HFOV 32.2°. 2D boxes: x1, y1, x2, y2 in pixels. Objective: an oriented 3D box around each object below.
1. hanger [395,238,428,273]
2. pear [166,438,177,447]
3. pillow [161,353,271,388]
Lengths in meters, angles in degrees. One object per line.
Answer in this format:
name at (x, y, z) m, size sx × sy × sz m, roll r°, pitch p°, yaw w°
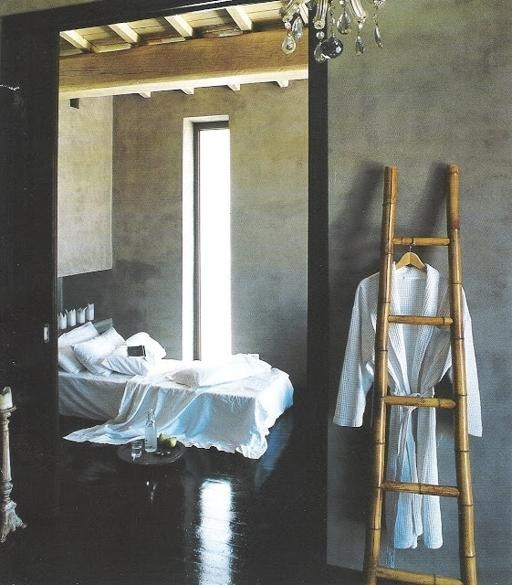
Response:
hanger at (0.503, -0.120, 2.838) m, size 0.123 × 0.099 × 0.023 m, roll 2°, pitch -3°, yaw -1°
pear at (-0.310, 0.547, 3.246) m, size 0.033 × 0.031 × 0.033 m, roll 2°, pitch 6°, yaw 3°
pillow at (-0.143, 0.284, 3.212) m, size 0.262 × 0.046 × 0.151 m, roll -10°, pitch 24°, yaw -6°
